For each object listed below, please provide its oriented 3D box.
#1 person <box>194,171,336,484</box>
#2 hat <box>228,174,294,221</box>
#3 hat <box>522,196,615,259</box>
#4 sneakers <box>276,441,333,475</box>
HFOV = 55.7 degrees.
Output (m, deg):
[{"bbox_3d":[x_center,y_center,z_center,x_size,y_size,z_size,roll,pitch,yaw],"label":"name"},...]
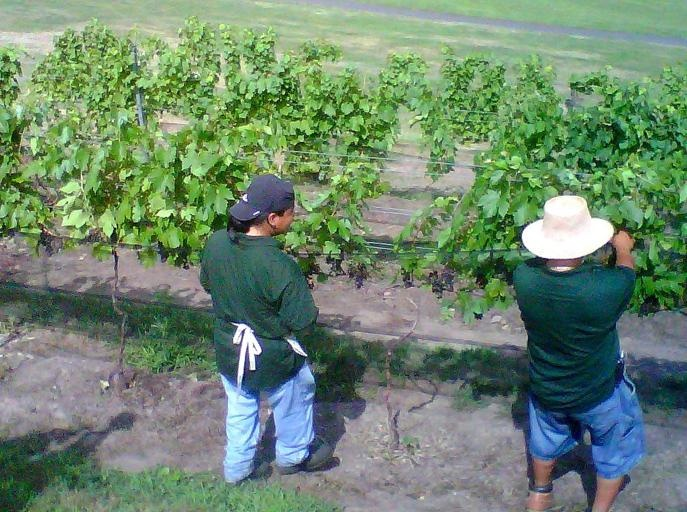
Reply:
[{"bbox_3d":[-0.586,0.632,4.818,1.072,2.313,0.833,7,18,11],"label":"person"},{"bbox_3d":[-0.537,-0.392,4.423,0.429,0.202,0.260,-20,42,-29],"label":"hat"},{"bbox_3d":[1.468,-0.178,4.277,0.478,0.202,0.473,7,39,38],"label":"hat"},{"bbox_3d":[-0.301,1.620,5.121,0.406,0.168,0.245,-22,14,-8],"label":"sneakers"}]
